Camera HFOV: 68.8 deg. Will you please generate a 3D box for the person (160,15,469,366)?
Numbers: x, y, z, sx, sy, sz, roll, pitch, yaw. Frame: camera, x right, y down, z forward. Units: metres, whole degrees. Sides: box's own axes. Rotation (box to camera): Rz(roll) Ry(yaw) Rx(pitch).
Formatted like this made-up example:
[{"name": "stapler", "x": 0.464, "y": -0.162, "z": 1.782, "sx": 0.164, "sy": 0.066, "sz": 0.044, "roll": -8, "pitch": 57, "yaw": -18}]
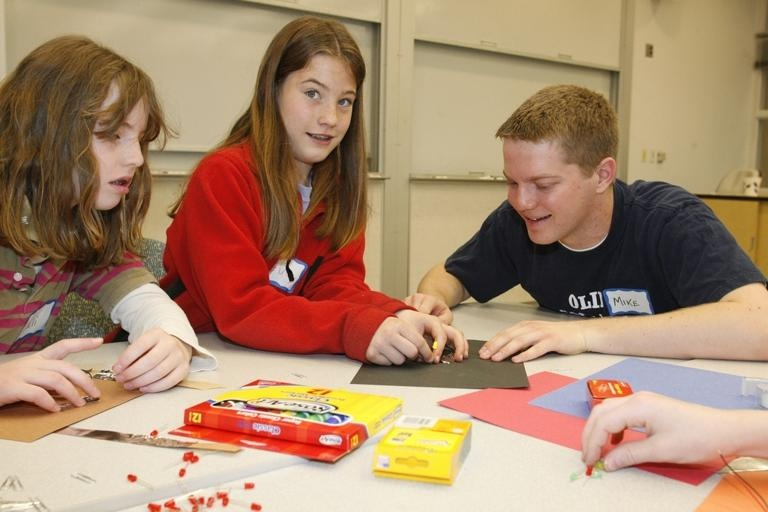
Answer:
[{"name": "person", "x": -0.225, "y": -0.194, "z": 1.688, "sx": 0.582, "sy": 0.962, "sz": 1.067, "roll": -1, "pitch": 9, "yaw": -40}]
